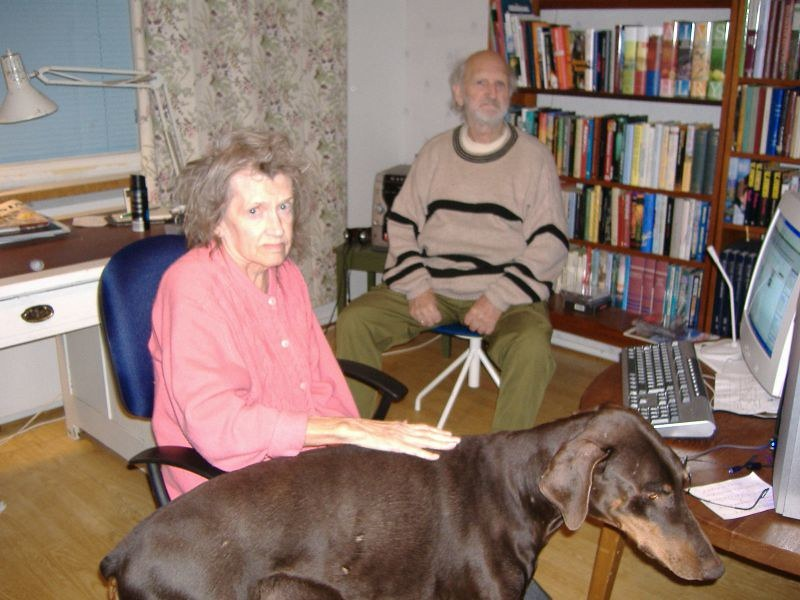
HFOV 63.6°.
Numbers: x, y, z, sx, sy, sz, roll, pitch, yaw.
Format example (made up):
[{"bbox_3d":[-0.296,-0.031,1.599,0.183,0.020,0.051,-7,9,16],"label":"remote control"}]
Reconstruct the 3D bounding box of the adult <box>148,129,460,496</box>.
[{"bbox_3d":[-0.290,0.200,1.758,0.682,1.270,0.625,10,20,17],"label":"adult"}]

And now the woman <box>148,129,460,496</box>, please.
[{"bbox_3d":[-0.172,-0.028,2.178,0.897,1.586,0.840,1,10,16],"label":"woman"}]

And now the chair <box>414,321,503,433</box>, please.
[{"bbox_3d":[0.296,0.389,3.141,0.266,0.460,0.275,-21,39,-39],"label":"chair"}]

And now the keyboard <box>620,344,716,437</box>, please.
[{"bbox_3d":[0.729,0.239,1.773,0.205,0.077,0.417,-1,23,17],"label":"keyboard"}]

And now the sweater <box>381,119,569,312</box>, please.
[{"bbox_3d":[0.357,-0.397,3.043,0.866,0.768,0.533,10,24,24],"label":"sweater"}]
